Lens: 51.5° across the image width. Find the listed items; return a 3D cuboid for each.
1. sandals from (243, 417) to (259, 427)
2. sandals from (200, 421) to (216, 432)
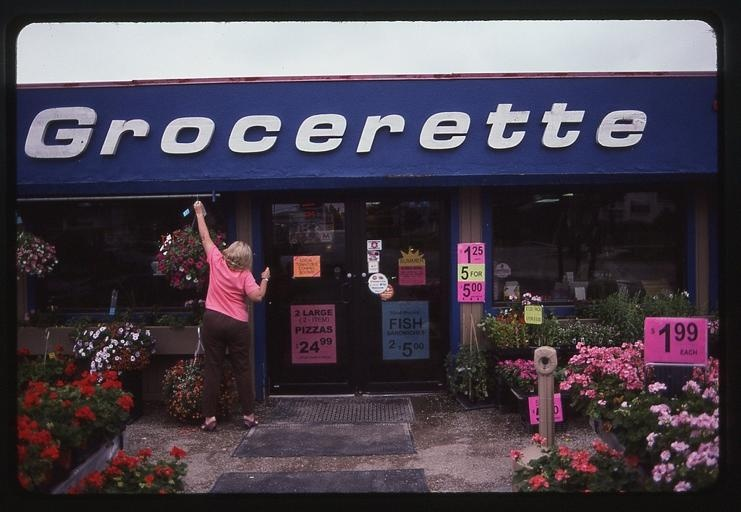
[{"bbox_3d":[-1.387,1.927,8.932,0.077,0.090,0.231,2,4,19],"label":"sandals"},{"bbox_3d":[-1.858,1.952,8.815,0.076,0.090,0.225,-39,17,-27],"label":"sandals"}]
